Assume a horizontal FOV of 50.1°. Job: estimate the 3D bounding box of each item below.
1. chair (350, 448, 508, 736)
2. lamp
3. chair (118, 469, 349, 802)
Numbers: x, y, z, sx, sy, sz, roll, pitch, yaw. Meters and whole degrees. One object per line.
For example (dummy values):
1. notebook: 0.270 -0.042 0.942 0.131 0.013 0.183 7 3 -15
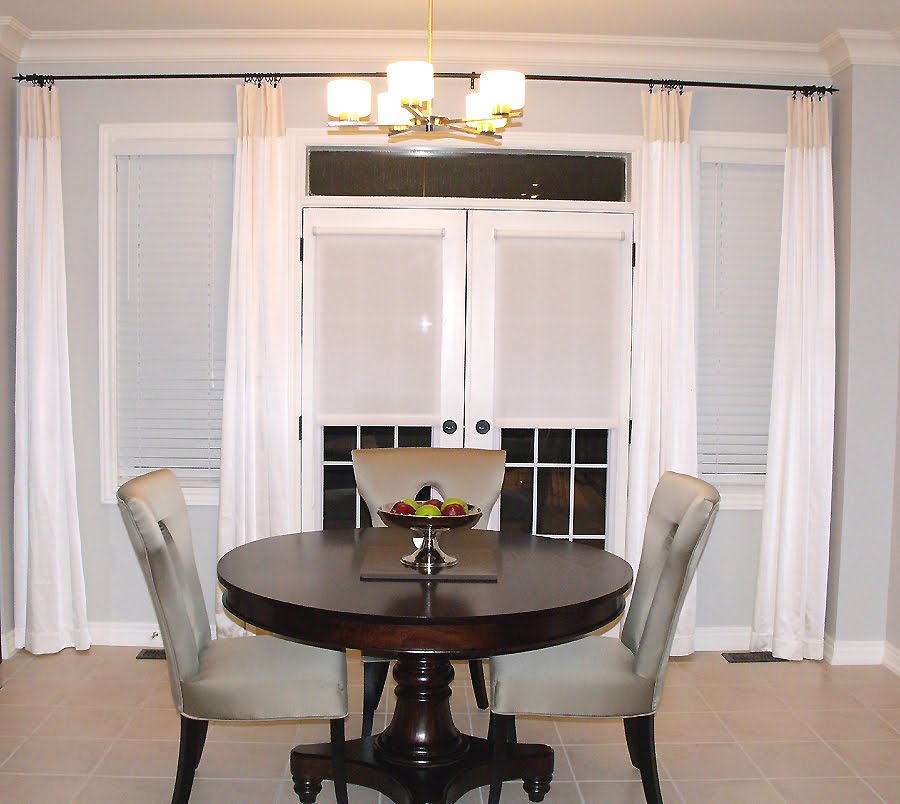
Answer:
1. chair: -0.125 0.743 4.522 0.875 1.461 0.983 0 -2 -2
2. lamp: -0.142 -1.413 3.980 0.718 0.757 1.071 -1 7 -8
3. chair: -0.761 0.819 4.116 1.048 1.724 0.953 -1 3 -6
